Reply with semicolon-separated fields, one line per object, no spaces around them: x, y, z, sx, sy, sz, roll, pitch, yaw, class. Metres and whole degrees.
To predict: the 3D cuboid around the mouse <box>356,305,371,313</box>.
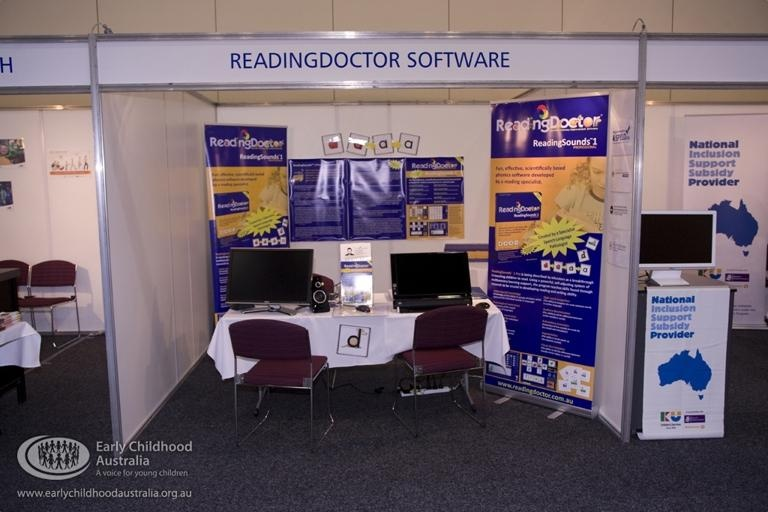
-0.197;0.547;6.079;0.197;0.078;0.055;0;9;28;mouse

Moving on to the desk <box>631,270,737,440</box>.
2.853;1.001;6.034;1.074;1.499;1.075;4;9;31;desk

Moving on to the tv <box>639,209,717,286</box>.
2.770;-0.083;5.704;0.726;0.674;0.235;0;-2;1;tv

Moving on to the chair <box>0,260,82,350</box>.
-4.556;0.629;7.928;0.880;1.102;0.546;-1;10;-1;chair

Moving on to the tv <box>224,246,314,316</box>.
-1.160;0.275;6.115;0.668;0.512;0.180;1;-3;5;tv

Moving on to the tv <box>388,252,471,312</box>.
0.498;0.278;6.039;0.838;0.586;0.476;-2;3;-8;tv

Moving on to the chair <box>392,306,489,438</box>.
0.538;1.056;6.066;0.888;1.237;0.879;-1;5;-3;chair

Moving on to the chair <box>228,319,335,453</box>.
-1.004;1.161;5.866;0.854;1.222;0.867;0;6;13;chair
